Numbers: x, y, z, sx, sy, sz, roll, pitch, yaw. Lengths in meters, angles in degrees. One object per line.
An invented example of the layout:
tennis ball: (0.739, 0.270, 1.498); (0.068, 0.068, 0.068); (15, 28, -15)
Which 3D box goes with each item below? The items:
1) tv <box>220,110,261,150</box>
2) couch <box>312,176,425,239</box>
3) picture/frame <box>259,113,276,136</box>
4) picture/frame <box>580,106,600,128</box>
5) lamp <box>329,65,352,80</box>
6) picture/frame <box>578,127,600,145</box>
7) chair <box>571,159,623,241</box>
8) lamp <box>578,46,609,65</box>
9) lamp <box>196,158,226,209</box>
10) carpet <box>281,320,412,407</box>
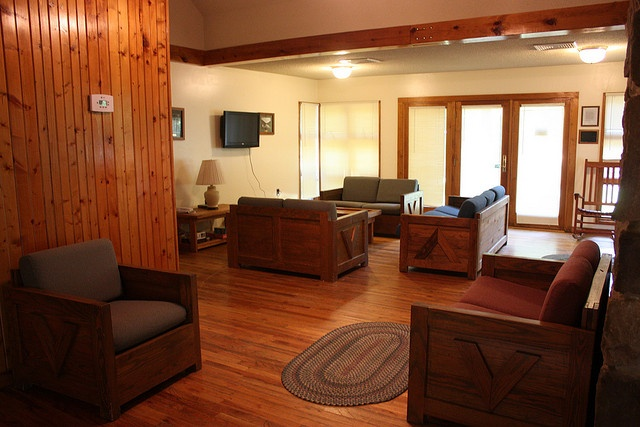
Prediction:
tv: (-1.466, -1.513, 8.353); (0.149, 0.548, 0.787); (5, 7, 35)
couch: (1.002, -0.340, 8.645); (1.867, 1.160, 1.105); (2, 6, 26)
picture/frame: (-1.044, -1.749, 9.058); (0.042, 0.426, 0.508); (1, 3, 29)
picture/frame: (4.844, -1.732, 8.233); (0.372, 0.513, 0.052); (2, 5, 35)
lamp: (0.397, -2.465, 8.054); (0.299, 0.184, 0.297); (1, 1, -7)
picture/frame: (4.854, -1.396, 8.285); (0.328, 0.308, 0.034); (2, 6, 36)
chair: (4.807, -0.238, 8.041); (0.661, 1.294, 0.873); (7, 15, 30)
lamp: (3.985, -2.302, 6.818); (0.334, 0.204, 0.335); (0, 3, 5)
lamp: (-1.820, -0.495, 7.687); (0.447, 0.798, 0.421); (-2, 13, -7)
carpet: (0.263, 1.272, 4.081); (1.023, 0.091, 1.283); (3, 13, 12)
